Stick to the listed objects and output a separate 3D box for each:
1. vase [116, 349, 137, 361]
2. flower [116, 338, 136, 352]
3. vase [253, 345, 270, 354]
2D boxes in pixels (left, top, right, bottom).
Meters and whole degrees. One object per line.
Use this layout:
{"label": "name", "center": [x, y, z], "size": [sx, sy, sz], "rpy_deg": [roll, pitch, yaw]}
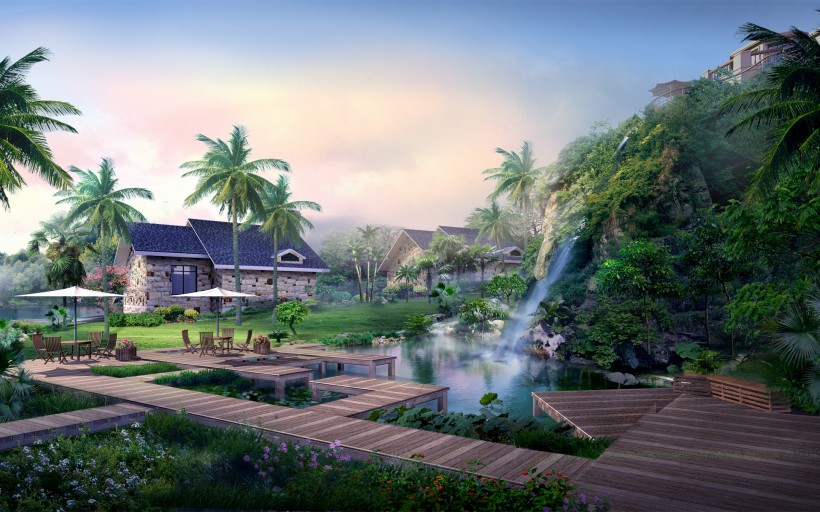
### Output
{"label": "vase", "center": [-14.275, 5.026, 27.925], "size": [0.789, 0.500, 0.579], "rpy_deg": [1, -4, -13]}
{"label": "flower", "center": [-14.420, 4.601, 28.167], "size": [0.810, 0.588, 0.825], "rpy_deg": [-1, -4, 28]}
{"label": "vase", "center": [-7.731, 4.900, 28.955], "size": [0.552, 0.334, 0.552], "rpy_deg": [0, -5, -5]}
